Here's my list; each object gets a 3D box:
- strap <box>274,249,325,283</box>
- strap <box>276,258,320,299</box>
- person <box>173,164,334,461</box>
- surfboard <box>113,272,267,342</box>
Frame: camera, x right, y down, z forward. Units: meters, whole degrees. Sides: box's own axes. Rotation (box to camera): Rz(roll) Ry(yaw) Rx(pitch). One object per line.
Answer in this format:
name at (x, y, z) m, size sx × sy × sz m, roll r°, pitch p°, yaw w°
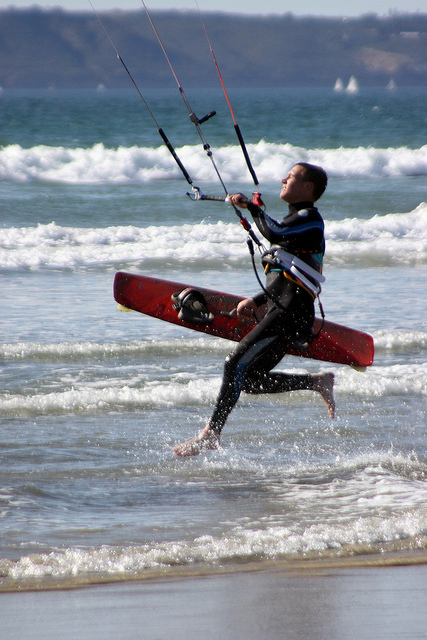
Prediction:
strap at (0.490, -0.308, 7.215) m, size 0.243 × 0.055 × 0.063 m, roll 39°, pitch 34°, yaw 7°
strap at (0.483, -0.240, 7.204) m, size 0.072 × 0.279 × 0.063 m, roll -48°, pitch -2°, yaw -35°
person at (0.334, -0.066, 7.465) m, size 0.734 × 1.723 × 0.899 m, roll 3°, pitch 14°, yaw 24°
surfboard at (-0.138, -0.067, 8.634) m, size 1.474 × 0.281 × 0.194 m, roll 13°, pitch -1°, yaw -44°
